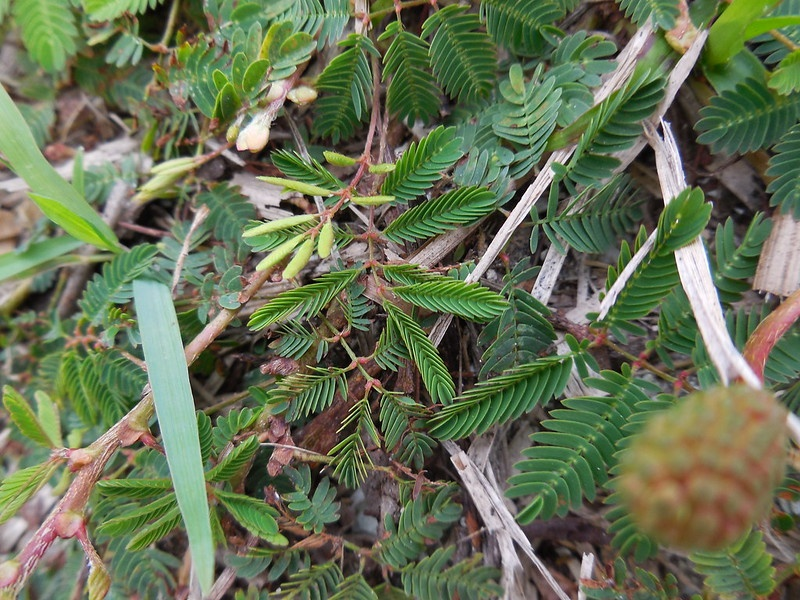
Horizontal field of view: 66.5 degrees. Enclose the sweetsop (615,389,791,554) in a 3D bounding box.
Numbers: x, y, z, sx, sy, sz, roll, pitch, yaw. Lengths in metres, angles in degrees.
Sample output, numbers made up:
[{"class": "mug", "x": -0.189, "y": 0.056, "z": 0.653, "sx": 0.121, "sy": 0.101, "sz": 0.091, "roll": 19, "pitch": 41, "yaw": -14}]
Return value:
[{"class": "sweetsop", "x": 0.792, "y": 0.374, "z": 1.593, "sx": 0.536, "sy": 0.356, "sz": 0.268, "roll": -40, "pitch": 108, "yaw": -38}]
